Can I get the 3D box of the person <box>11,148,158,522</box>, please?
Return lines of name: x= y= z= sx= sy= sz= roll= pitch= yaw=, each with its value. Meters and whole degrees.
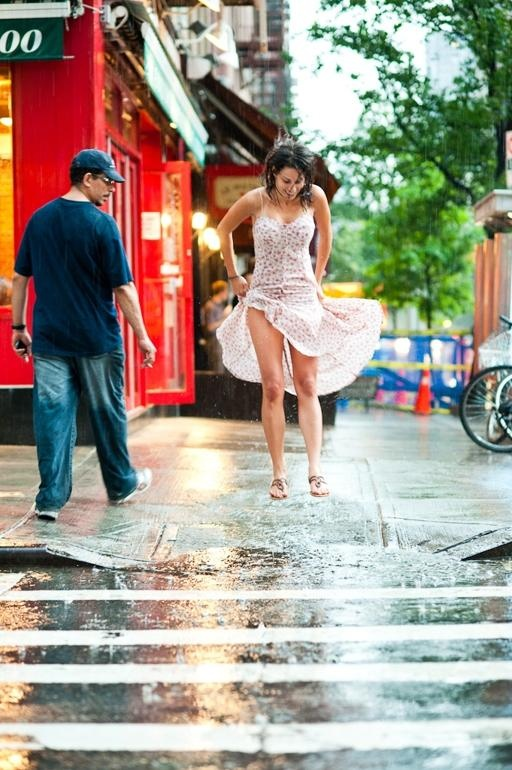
person: x=-0.921 y=-0.280 z=4.715 sx=0.660 sy=1.933 sz=0.480 roll=0 pitch=3 yaw=-26

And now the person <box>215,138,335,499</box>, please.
person: x=0.104 y=-0.324 z=4.804 sx=0.628 sy=1.969 sz=0.673 roll=2 pitch=3 yaw=5

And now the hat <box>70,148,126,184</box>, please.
hat: x=-0.842 y=-1.147 z=4.666 sx=0.288 sy=0.135 sz=0.181 roll=4 pitch=14 yaw=-24

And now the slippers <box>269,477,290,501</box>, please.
slippers: x=0.115 y=0.553 z=4.619 sx=0.083 sy=0.116 sz=0.120 roll=1 pitch=3 yaw=-1

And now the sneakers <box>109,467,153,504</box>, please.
sneakers: x=-0.726 y=0.589 z=5.098 sx=0.114 sy=0.132 sz=0.300 roll=20 pitch=47 yaw=34

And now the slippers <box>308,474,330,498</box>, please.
slippers: x=0.323 y=0.533 z=4.594 sx=0.087 sy=0.115 sz=0.107 roll=1 pitch=3 yaw=-6

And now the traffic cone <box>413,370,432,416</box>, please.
traffic cone: x=2.579 y=0.108 z=13.587 sx=0.234 sy=0.681 sz=0.566 roll=2 pitch=3 yaw=10

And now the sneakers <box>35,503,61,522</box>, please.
sneakers: x=-1.073 y=0.656 z=4.506 sx=0.119 sy=0.074 sz=0.155 roll=1 pitch=3 yaw=-12
